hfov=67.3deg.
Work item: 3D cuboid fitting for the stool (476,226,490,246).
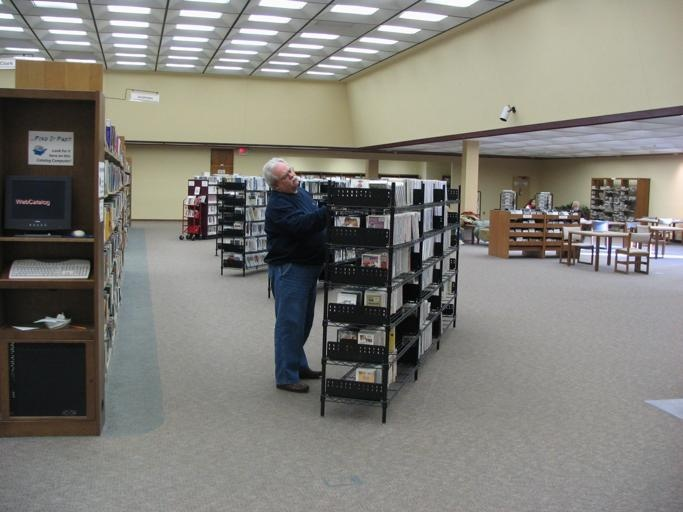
[{"bbox_3d":[5.066,-0.741,18.602,0.537,0.579,0.557,1,0,-13],"label":"stool"}]

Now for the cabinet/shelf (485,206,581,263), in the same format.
[{"bbox_3d":[5.947,-0.740,15.779,2.346,1.400,1.086,0,5,-10],"label":"cabinet/shelf"}]

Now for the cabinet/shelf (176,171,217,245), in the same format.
[{"bbox_3d":[-5.029,-1.778,18.314,1.334,2.242,1.485,9,9,14],"label":"cabinet/shelf"}]

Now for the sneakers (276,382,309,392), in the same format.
[{"bbox_3d":[-0.446,1.220,4.801,0.286,0.133,0.111,0,0,10],"label":"sneakers"}]

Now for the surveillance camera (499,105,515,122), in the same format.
[{"bbox_3d":[4.266,-3.666,13.144,0.360,0.366,0.569,3,9,16],"label":"surveillance camera"}]

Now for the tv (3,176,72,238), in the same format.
[{"bbox_3d":[-2.224,-0.379,3.762,0.408,0.436,0.147,0,-3,-12],"label":"tv"}]

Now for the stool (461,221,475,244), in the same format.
[{"bbox_3d":[4.660,-0.842,19.028,0.699,0.782,0.731,0,3,16],"label":"stool"}]

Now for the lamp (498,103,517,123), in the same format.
[{"bbox_3d":[4.172,-3.640,13.054,0.445,0.472,0.282,33,-12,-34],"label":"lamp"}]
